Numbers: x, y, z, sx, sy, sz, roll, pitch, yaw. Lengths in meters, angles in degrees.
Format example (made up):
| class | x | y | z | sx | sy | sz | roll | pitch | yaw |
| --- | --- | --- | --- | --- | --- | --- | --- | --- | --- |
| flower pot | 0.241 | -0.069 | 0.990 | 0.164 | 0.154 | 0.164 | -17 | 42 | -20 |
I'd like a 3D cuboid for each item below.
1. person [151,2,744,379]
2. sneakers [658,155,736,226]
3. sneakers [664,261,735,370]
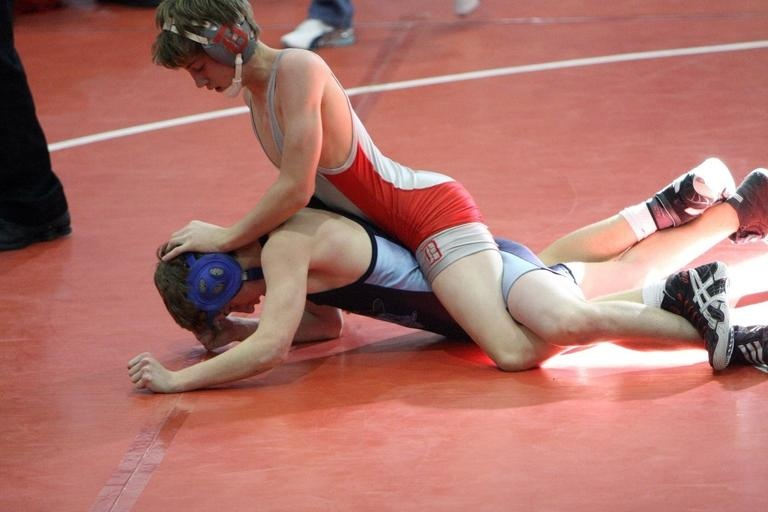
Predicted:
| class | x | y | z | sx | sy | sz | roll | pitch | yaw |
| --- | --- | --- | --- | --- | --- | --- | --- | --- | --- |
| person | 0.203 | -0.158 | 2.678 | 2.270 | 1.310 | 0.855 | 6 | 35 | -2 |
| sneakers | 1.356 | -0.264 | 3.061 | 0.372 | 0.147 | 0.202 | -30 | 64 | 12 |
| sneakers | 1.197 | 0.184 | 2.583 | 0.219 | 0.463 | 0.161 | -19 | 16 | 13 |
